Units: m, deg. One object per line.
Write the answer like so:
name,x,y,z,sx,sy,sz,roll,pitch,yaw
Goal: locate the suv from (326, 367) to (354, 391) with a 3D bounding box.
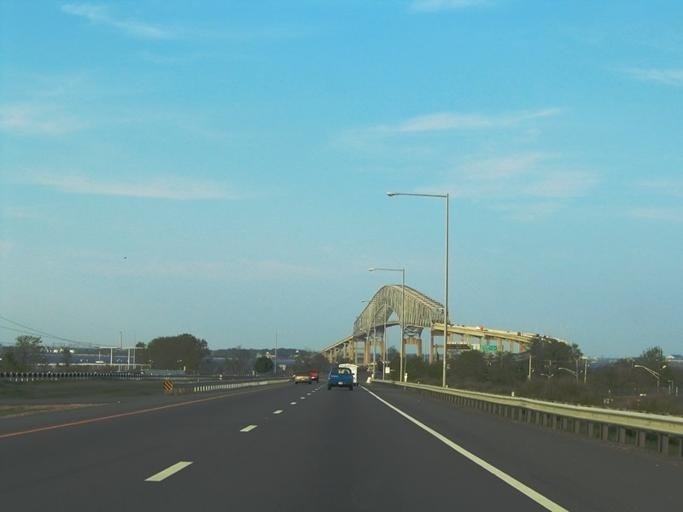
suv,-0.111,9.306,76.762,1.169,1.252,2.325,1,1,3
